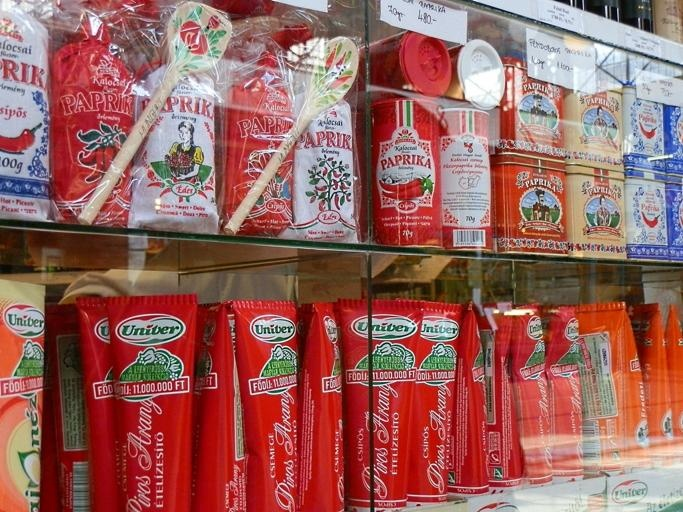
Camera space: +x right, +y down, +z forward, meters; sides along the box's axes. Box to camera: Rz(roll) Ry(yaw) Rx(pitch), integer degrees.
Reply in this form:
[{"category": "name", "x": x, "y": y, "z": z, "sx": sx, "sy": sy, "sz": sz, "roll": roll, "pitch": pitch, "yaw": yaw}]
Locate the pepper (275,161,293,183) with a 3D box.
[{"category": "pepper", "x": -0.090, "y": -0.133, "z": 1.183, "sx": 0.022, "sy": 0.029, "sz": 0.030, "roll": -5, "pitch": 4, "yaw": 2}]
